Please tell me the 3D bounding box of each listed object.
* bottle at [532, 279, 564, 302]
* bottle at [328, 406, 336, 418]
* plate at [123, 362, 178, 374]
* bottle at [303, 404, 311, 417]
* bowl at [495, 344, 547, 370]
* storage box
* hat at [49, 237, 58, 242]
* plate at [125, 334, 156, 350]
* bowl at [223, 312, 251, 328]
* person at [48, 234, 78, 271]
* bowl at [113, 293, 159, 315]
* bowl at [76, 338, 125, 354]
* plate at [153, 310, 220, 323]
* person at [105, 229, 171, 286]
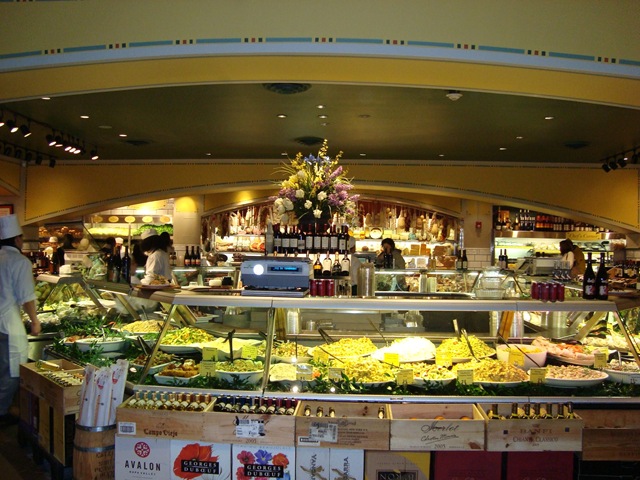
[{"bbox_3d":[1.969,0.431,4.435,0.200,0.127,0.223,0,1,-2],"label":"bottle"},{"bbox_3d":[0.088,1.355,4.065,0.053,0.071,0.052,1,7,0],"label":"bottle"},{"bbox_3d":[-1.456,1.108,4.464,0.211,0.040,0.200,2,-2,-40],"label":"plate"},{"bbox_3d":[-0.102,1.338,4.051,0.042,0.028,0.105,2,9,-1],"label":"bottle"},{"bbox_3d":[1.827,1.028,4.623,0.286,0.130,0.254,1,0,10],"label":"bowl"},{"bbox_3d":[0.005,1.449,4.059,3.974,0.775,0.294,1,1,2],"label":"storage box"},{"bbox_3d":[-6.419,-0.011,12.434,0.165,0.080,0.145,1,-1,-1],"label":"hat"},{"bbox_3d":[-1.734,0.979,4.997,0.267,0.080,0.252,6,2,-25],"label":"plate"},{"bbox_3d":[-0.785,0.757,4.909,0.205,0.099,0.181,1,3,3],"label":"bowl"},{"bbox_3d":[-4.944,0.221,9.906,0.549,0.609,0.714,3,1,-2],"label":"person"},{"bbox_3d":[-1.913,0.653,5.295,0.505,0.096,0.320,1,-2,39],"label":"bowl"},{"bbox_3d":[-2.195,1.057,5.202,0.274,0.061,0.276,1,-2,0],"label":"bowl"},{"bbox_3d":[-1.240,0.731,4.918,0.345,0.039,0.263,1,0,44],"label":"plate"},{"bbox_3d":[-2.585,0.228,7.341,0.566,1.394,0.739,4,4,13],"label":"person"}]
